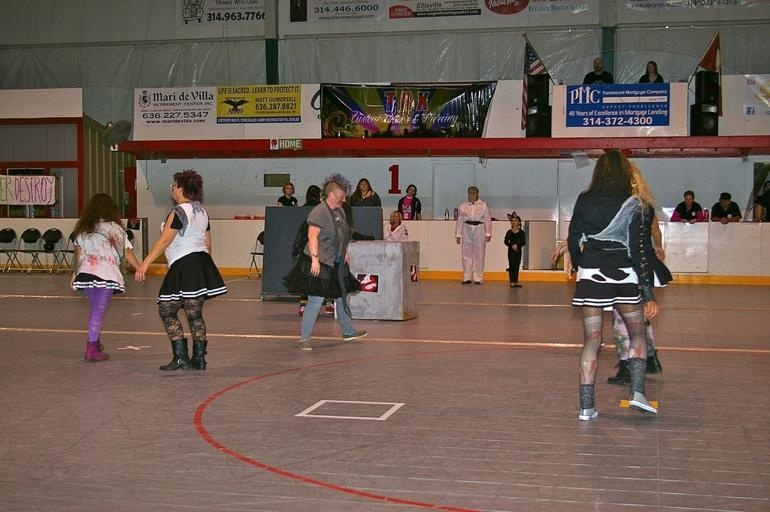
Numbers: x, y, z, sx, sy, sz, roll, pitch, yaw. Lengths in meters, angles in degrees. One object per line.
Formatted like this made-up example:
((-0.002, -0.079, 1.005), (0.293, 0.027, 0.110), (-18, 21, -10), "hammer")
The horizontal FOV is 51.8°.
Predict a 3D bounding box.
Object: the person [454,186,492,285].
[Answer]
((2.047, -0.484, 18.521), (0.814, 2.220, 0.656), (2, 11, 13), "person")

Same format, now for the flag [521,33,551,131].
((3.709, -3.981, 18.975), (0.744, 2.729, 0.814), (8, 15, 43), "flag")

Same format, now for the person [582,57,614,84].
((5.255, -4.534, 19.416), (0.617, 0.680, 2.272), (3, 11, 15), "person")

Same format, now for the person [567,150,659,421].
((2.246, 0.287, 7.748), (0.835, 2.628, 0.701), (0, -11, 16), "person")

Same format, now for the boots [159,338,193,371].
((-2.489, 1.176, 9.256), (0.437, 0.362, 0.194), (-5, -4, -31), "boots")

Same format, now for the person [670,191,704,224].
((7.142, -1.082, 18.610), (0.691, 0.896, 0.924), (4, 13, 32), "person")

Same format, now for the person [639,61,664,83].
((6.381, -4.383, 18.881), (0.463, 0.566, 1.682), (3, 11, 17), "person")

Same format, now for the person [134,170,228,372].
((-2.363, 0.183, 9.342), (0.902, 2.328, 0.758), (-3, 11, -13), "person")

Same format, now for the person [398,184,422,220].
((0.601, -1.333, 19.811), (0.567, 0.880, 0.487), (1, 11, 9), "person")

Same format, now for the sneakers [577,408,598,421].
((1.957, 1.532, 7.617), (0.083, 0.145, 0.213), (6, 11, 36), "sneakers")

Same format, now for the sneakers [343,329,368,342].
((-0.424, 1.100, 10.840), (0.349, 0.140, 0.129), (-13, 11, -12), "sneakers")

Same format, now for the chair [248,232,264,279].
((-3.325, 0.017, 20.089), (0.370, 0.930, 0.696), (-2, 11, -10), "chair")

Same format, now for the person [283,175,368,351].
((-0.787, 0.095, 10.332), (0.587, 2.233, 1.010), (7, 13, 36), "person")

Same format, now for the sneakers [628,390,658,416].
((2.579, 1.449, 7.731), (0.164, 0.231, 0.494), (3, -15, 46), "sneakers")

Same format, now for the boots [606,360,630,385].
((2.624, 1.294, 8.790), (0.346, 0.343, 0.178), (1, -1, 15), "boots")

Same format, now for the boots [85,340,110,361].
((-3.538, 1.169, 9.742), (0.153, 0.264, 0.403), (3, 7, 20), "boots")

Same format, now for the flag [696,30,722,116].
((7.599, -4.232, 18.398), (0.547, 1.921, 0.982), (2, 11, 14), "flag")

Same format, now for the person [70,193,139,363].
((-3.499, 0.256, 9.774), (0.741, 1.997, 0.641), (-5, 12, -22), "person")
